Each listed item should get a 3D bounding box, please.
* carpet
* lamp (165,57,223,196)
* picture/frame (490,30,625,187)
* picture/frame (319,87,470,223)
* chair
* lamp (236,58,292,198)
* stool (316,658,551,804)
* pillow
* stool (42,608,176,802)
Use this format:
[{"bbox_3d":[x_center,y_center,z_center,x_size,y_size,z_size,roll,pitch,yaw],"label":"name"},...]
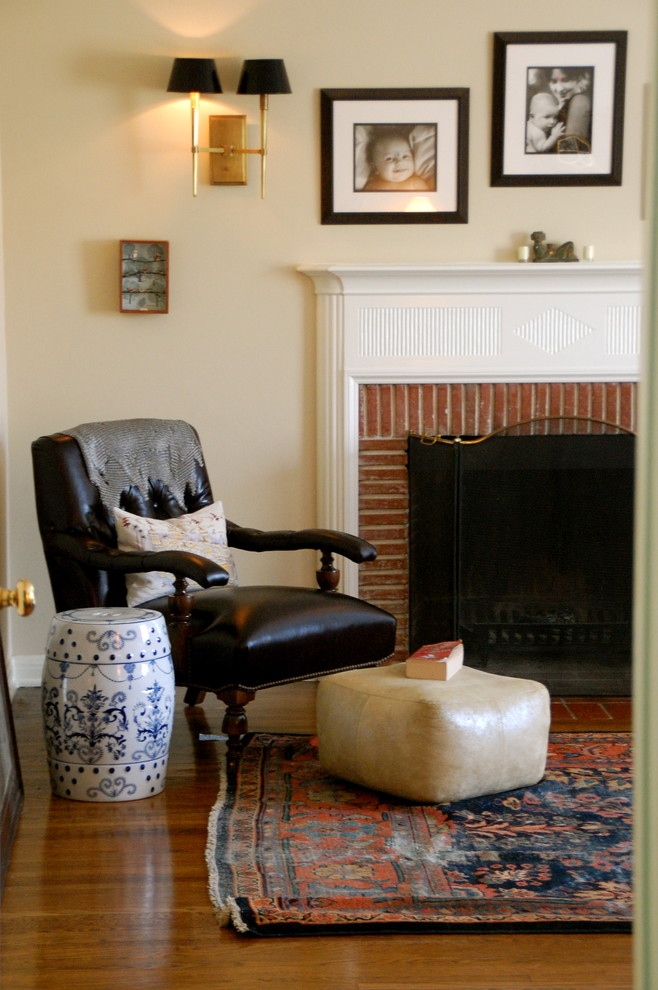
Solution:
[{"bbox_3d":[0.214,0.703,2.047,0.998,0.024,1.100,0,1,6],"label":"carpet"},{"bbox_3d":[-0.465,-1.297,3.252,0.181,0.447,0.196,-1,2,-6],"label":"lamp"},{"bbox_3d":[0.809,-1.408,3.340,0.577,0.600,0.031,1,3,-3],"label":"picture/frame"},{"bbox_3d":[0.225,-1.239,3.345,0.517,0.444,0.035,0,7,-1],"label":"picture/frame"},{"bbox_3d":[-0.339,0.221,2.732,0.877,0.805,0.654,2,5,39],"label":"chair"},{"bbox_3d":[-0.223,-1.297,3.267,0.189,0.457,0.191,-1,2,-3],"label":"lamp"},{"bbox_3d":[0.250,0.564,2.323,0.475,0.235,0.508,2,-1,-36],"label":"stool"},{"bbox_3d":[-0.440,0.172,2.630,0.106,0.218,0.305,-10,-3,35],"label":"pillow"},{"bbox_3d":[-0.530,0.509,2.256,0.313,0.379,0.303,-1,-5,12],"label":"stool"}]
